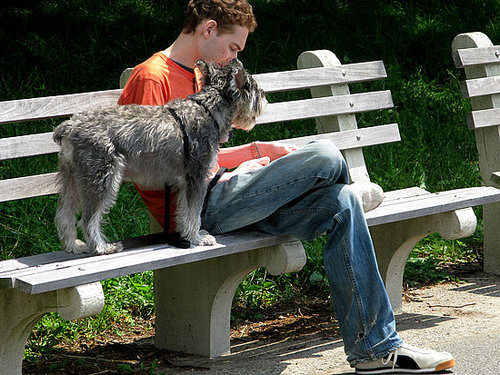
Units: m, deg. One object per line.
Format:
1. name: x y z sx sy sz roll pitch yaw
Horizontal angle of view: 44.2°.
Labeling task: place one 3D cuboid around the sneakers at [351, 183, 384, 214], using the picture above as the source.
1. sneakers: 0.756 0.066 4.120 0.279 0.130 0.117 -5 11 18

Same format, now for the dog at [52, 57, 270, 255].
1. dog: -0.509 -0.210 3.835 1.283 1.200 0.508 -5 13 -25

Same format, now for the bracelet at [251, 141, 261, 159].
1. bracelet: 0.042 -0.257 4.229 0.036 0.102 0.076 -28 0 11
